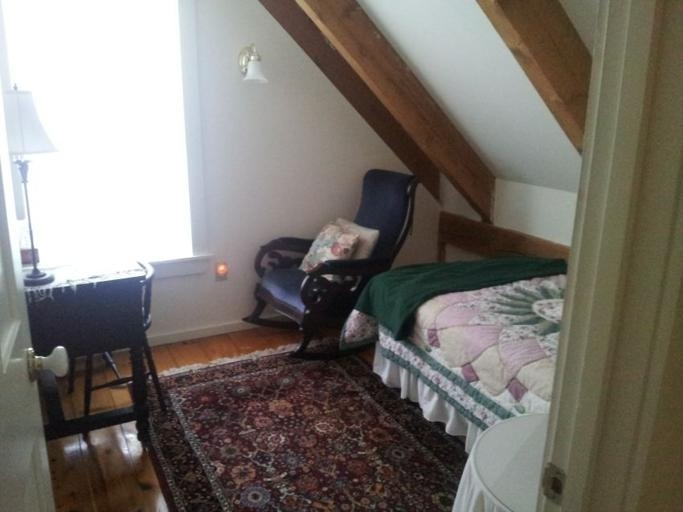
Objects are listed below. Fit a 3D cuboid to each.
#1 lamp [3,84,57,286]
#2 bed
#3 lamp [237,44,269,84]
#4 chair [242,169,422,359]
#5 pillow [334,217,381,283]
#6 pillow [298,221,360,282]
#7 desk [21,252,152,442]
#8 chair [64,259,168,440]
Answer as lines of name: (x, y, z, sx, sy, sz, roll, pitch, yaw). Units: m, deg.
lamp: (-1.338, -0.333, 2.322, 0.185, 0.836, 0.696, -8, 13, -28)
bed: (0.654, 0.471, 2.256, 0.755, 0.334, 0.781, -11, 39, -8)
lamp: (-0.484, -1.067, 2.903, 0.128, 0.205, 0.160, -4, 10, -33)
chair: (-0.066, 0.019, 3.206, 1.008, 1.090, 0.985, 6, 14, 3)
pillow: (0.105, -0.035, 3.156, 0.256, 0.291, 0.486, -2, 12, 0)
pillow: (-0.058, -0.043, 3.095, 0.097, 0.323, 0.328, 29, -1, -32)
desk: (-1.068, 0.485, 2.329, 0.526, 0.632, 0.488, -4, -10, -40)
chair: (-1.034, 0.426, 2.318, 0.425, 0.599, 0.454, -7, 4, 26)
